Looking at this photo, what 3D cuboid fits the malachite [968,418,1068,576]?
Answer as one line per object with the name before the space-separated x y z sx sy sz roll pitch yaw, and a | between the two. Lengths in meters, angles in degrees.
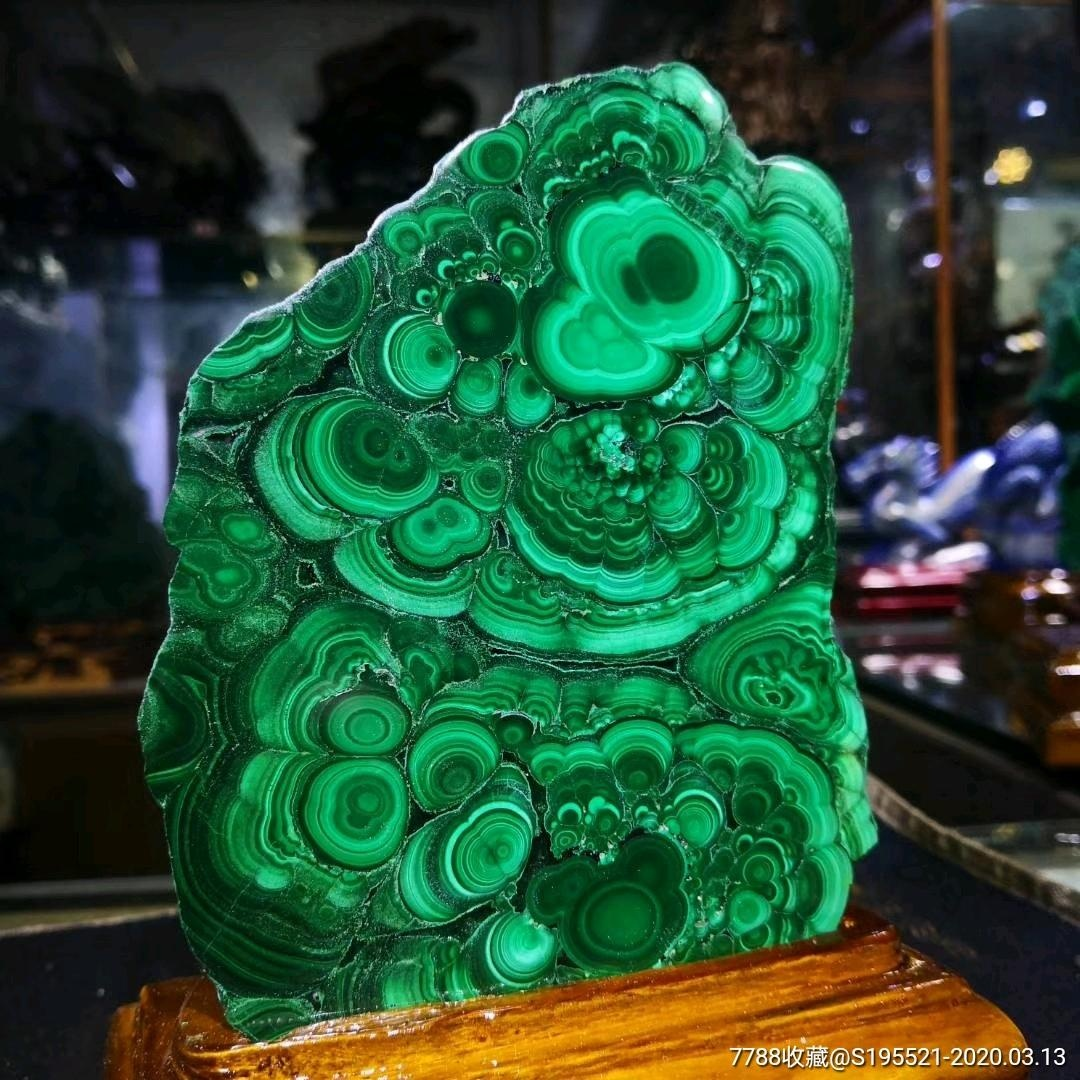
malachite | 0.668 -0.059 2.032 0.061 0.209 0.140 -14 9 -23
